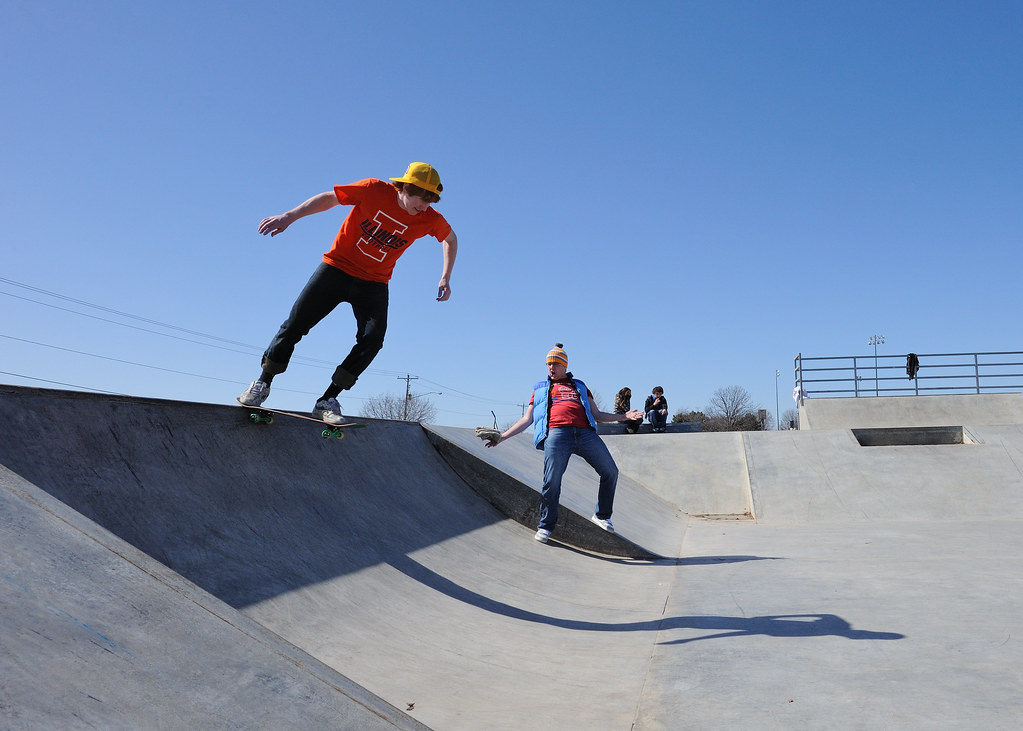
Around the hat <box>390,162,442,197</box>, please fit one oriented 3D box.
[{"bbox_3d":[-0.597,-1.164,4.659,0.284,0.194,0.193,-1,-5,-12],"label":"hat"}]

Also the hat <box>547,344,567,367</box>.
[{"bbox_3d":[0.323,-0.052,5.224,0.173,0.163,0.129,12,-16,-40],"label":"hat"}]

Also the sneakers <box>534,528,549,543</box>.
[{"bbox_3d":[0.227,1.263,5.532,0.055,0.062,0.144,2,-25,8],"label":"sneakers"}]

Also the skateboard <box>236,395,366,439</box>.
[{"bbox_3d":[-1.304,0.319,4.344,0.782,0.134,0.249,18,-4,-24],"label":"skateboard"}]

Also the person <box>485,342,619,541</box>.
[{"bbox_3d":[0.439,0.578,5.904,0.843,1.532,0.818,2,-6,-37],"label":"person"}]

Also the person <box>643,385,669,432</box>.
[{"bbox_3d":[3.058,0.934,15.593,0.399,0.895,2.015,-2,-5,9],"label":"person"}]

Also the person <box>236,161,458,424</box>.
[{"bbox_3d":[-1.002,-0.432,4.829,1.204,1.588,0.561,-1,-4,-4],"label":"person"}]
